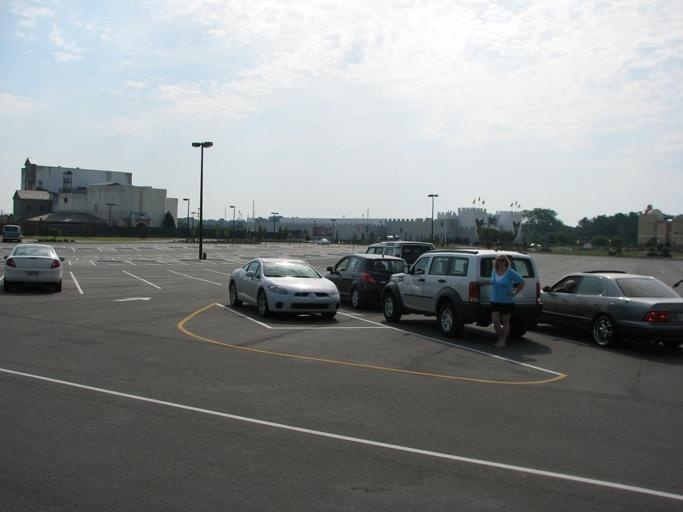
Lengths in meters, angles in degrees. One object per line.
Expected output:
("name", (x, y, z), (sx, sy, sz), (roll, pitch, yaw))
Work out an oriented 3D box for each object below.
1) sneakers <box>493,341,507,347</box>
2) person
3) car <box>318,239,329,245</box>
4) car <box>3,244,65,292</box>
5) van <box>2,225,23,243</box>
("sneakers", (3.518, 1.962, 12.624), (0.280, 0.212, 0.116), (5, -2, -14))
("person", (3.598, 1.003, 12.474), (0.636, 2.035, 0.405), (2, 2, 16))
("car", (-3.638, -2.932, 120.159), (1.124, 1.087, 1.982), (0, 5, -39))
("car", (-11.679, 0.467, 22.061), (1.432, 1.216, 2.730), (0, 9, -16))
("van", (-43.896, -2.923, 75.869), (2.283, 2.257, 4.578), (-1, 8, -22))
